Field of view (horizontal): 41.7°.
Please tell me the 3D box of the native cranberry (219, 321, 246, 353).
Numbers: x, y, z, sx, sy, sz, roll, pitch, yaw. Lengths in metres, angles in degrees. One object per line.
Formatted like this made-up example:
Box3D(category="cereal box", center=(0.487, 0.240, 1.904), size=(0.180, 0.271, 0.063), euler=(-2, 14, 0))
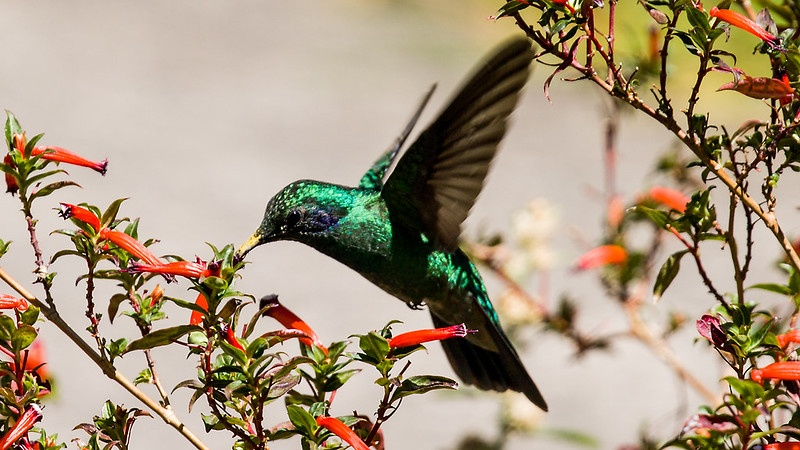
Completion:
Box3D(category="native cranberry", center=(-0.812, 0.548, 5.069), size=(0.077, 0.028, 0.148), euler=(-42, -82, -7))
